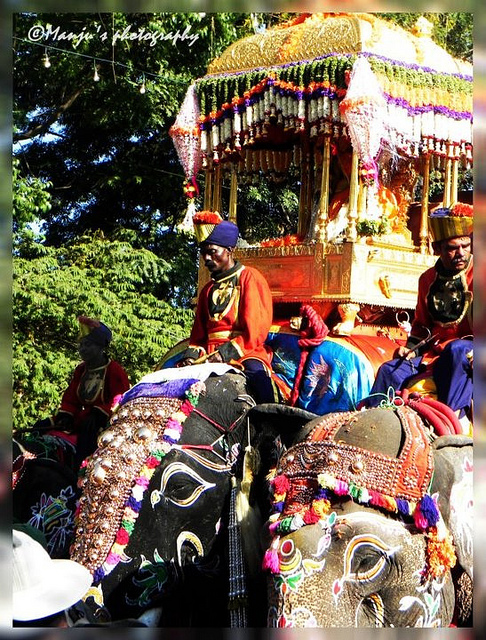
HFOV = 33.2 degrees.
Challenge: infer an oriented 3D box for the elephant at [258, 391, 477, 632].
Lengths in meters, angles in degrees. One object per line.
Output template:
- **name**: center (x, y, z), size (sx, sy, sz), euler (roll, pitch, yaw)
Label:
- **elephant**: center (0.386, 0.642, 2.483), size (0.610, 0.679, 0.820), euler (1, 5, 13)
